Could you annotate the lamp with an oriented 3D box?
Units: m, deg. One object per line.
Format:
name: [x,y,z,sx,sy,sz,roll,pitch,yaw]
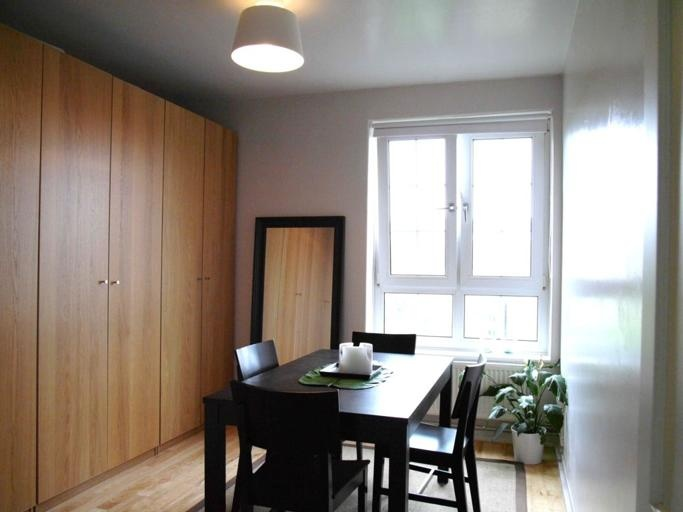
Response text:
lamp: [-0.448,-1.257,3.239,0.400,0.266,0.417,-1,1,-3]

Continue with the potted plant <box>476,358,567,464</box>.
potted plant: [1.408,1.168,4.291,0.693,0.758,0.723,-1,-2,29]
